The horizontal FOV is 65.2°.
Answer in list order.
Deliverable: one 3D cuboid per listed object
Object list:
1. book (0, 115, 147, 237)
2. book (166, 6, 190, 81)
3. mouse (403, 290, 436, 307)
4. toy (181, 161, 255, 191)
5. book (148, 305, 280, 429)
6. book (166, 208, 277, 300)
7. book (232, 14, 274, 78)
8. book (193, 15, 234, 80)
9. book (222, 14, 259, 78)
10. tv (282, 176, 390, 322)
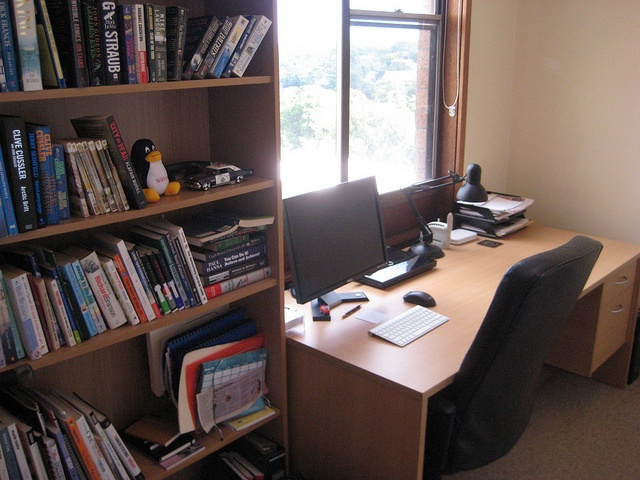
[{"bbox_3d":[-0.788,-0.192,1.622,0.412,0.399,0.328,-22,17,-36],"label":"book"},{"bbox_3d":[-0.462,-0.625,1.607,0.078,0.201,0.217,5,18,0],"label":"book"},{"bbox_3d":[0.446,0.248,2.208,0.114,0.037,0.063,14,21,37],"label":"mouse"},{"bbox_3d":[-0.367,-0.236,1.799,0.193,0.058,0.117,-22,34,-38],"label":"toy"},{"bbox_3d":[-0.443,0.452,1.889,0.173,0.407,0.405,-7,-4,40],"label":"book"},{"bbox_3d":[-0.363,0.024,1.892,0.309,0.212,0.322,11,25,31],"label":"book"},{"bbox_3d":[-0.240,-0.667,1.730,0.043,0.185,0.184,28,-13,-5],"label":"book"},{"bbox_3d":[-0.341,-0.628,1.699,0.042,0.180,0.177,29,-3,-15],"label":"book"},{"bbox_3d":[-0.253,-0.649,1.738,0.043,0.182,0.181,28,3,-7],"label":"book"},{"bbox_3d":[0.065,0.064,2.180,0.178,0.479,0.507,10,26,37],"label":"tv"}]
